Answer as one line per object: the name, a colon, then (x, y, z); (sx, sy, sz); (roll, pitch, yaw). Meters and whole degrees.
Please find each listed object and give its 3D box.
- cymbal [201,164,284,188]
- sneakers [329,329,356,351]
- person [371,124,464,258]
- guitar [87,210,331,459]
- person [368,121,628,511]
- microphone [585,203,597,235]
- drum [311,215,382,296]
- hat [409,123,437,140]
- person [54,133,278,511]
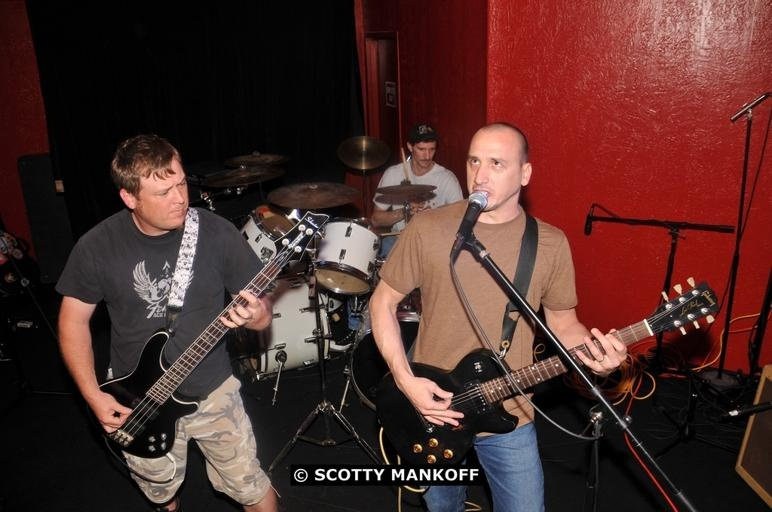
cymbal: (-1.797, -0.978, 6.985); (0.541, 0.111, 0.531); (-8, 27, -9)
sneakers: (-0.467, 0.959, 6.384); (0.314, 0.222, 0.075); (-21, -3, 1)
person: (0.303, -0.710, 6.900); (1.041, 1.609, 1.062); (9, 12, 26)
guitar: (-1.142, 0.428, 4.436); (0.769, 2.632, 0.268); (41, -6, 0)
person: (0.671, 0.733, 3.921); (1.525, 3.140, 0.894); (-4, 20, -3)
microphone: (2.138, -0.402, 5.872); (0.064, 0.134, 0.362); (28, 49, -3)
drum: (-0.323, -0.040, 5.905); (0.716, 0.717, 0.666); (1, 51, 7)
hat: (0.445, -1.460, 6.789); (0.227, 0.171, 0.222); (-3, 6, -29)
person: (-1.588, 0.601, 4.158); (1.485, 2.828, 0.853); (-6, 20, -9)
